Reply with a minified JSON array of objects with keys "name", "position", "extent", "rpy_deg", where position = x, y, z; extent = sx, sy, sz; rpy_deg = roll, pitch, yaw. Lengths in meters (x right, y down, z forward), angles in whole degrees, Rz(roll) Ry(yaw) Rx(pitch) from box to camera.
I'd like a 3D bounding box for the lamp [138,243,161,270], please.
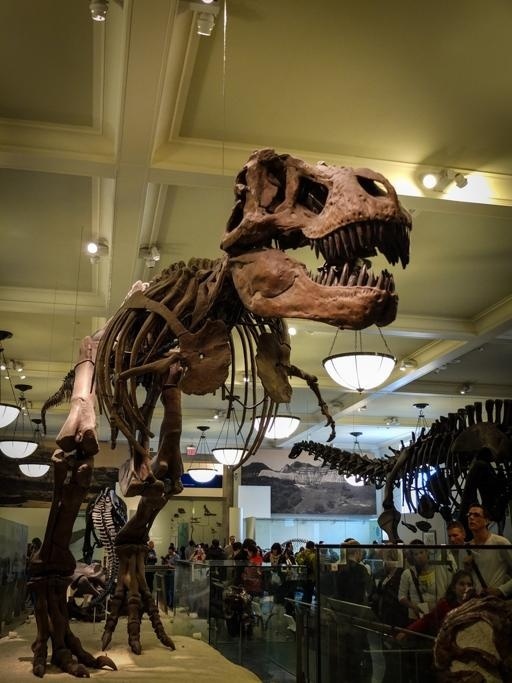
[{"name":"lamp","position":[-1.223,-1.000,6.034],"extent":[0.325,0.082,0.226],"rpy_deg":[10,-38,-11]}]
